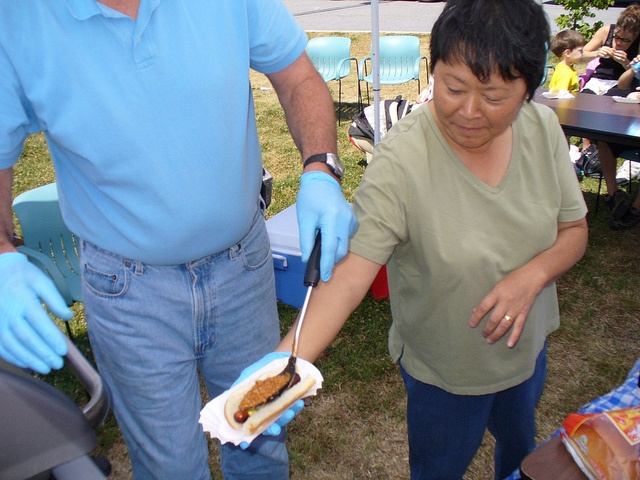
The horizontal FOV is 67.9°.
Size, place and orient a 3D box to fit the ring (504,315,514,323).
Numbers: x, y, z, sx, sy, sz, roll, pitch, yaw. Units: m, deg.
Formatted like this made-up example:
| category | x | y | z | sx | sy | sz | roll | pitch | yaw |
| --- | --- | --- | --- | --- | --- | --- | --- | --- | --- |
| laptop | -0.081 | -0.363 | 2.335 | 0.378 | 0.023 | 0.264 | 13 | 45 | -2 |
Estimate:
| category | x | y | z | sx | sy | sz | roll | pitch | yaw |
| --- | --- | --- | --- | --- | --- | --- | --- | --- | --- |
| ring | 0.728 | 0.303 | 1.829 | 0.021 | 0.029 | 0.025 | -3 | -1 | -26 |

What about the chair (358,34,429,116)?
| category | x | y | z | sx | sy | sz | roll | pitch | yaw |
| --- | --- | --- | --- | --- | --- | --- | --- | --- | --- |
| chair | 1.499 | -3.238 | 9.468 | 1.114 | 1.560 | 1.063 | -4 | 15 | 3 |

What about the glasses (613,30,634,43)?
| category | x | y | z | sx | sy | sz | roll | pitch | yaw |
| --- | --- | --- | --- | --- | --- | --- | --- | --- | --- |
| glasses | 4.233 | -2.841 | 6.674 | 0.142 | 0.134 | 0.282 | -18 | 34 | -21 |

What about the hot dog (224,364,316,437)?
| category | x | y | z | sx | sy | sz | roll | pitch | yaw |
| --- | --- | --- | --- | --- | --- | --- | --- | --- | --- |
| hot dog | -0.170 | 0.535 | 1.659 | 0.352 | 0.144 | 0.143 | -24 | 34 | -26 |

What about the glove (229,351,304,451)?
| category | x | y | z | sx | sy | sz | roll | pitch | yaw |
| --- | --- | --- | --- | --- | --- | --- | --- | --- | --- |
| glove | -0.179 | 0.531 | 1.678 | 0.215 | 0.109 | 0.363 | 38 | 69 | 15 |

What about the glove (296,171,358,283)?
| category | x | y | z | sx | sy | sz | roll | pitch | yaw |
| --- | --- | --- | --- | --- | --- | --- | --- | --- | --- |
| glove | 0.016 | -0.086 | 1.917 | 0.199 | 0.125 | 0.444 | 2 | 64 | -10 |

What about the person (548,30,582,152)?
| category | x | y | z | sx | sy | sz | roll | pitch | yaw |
| --- | --- | --- | --- | --- | --- | --- | --- | --- | --- |
| person | 3.489 | -2.514 | 6.697 | 0.364 | 0.816 | 0.658 | 5 | 26 | 32 |
